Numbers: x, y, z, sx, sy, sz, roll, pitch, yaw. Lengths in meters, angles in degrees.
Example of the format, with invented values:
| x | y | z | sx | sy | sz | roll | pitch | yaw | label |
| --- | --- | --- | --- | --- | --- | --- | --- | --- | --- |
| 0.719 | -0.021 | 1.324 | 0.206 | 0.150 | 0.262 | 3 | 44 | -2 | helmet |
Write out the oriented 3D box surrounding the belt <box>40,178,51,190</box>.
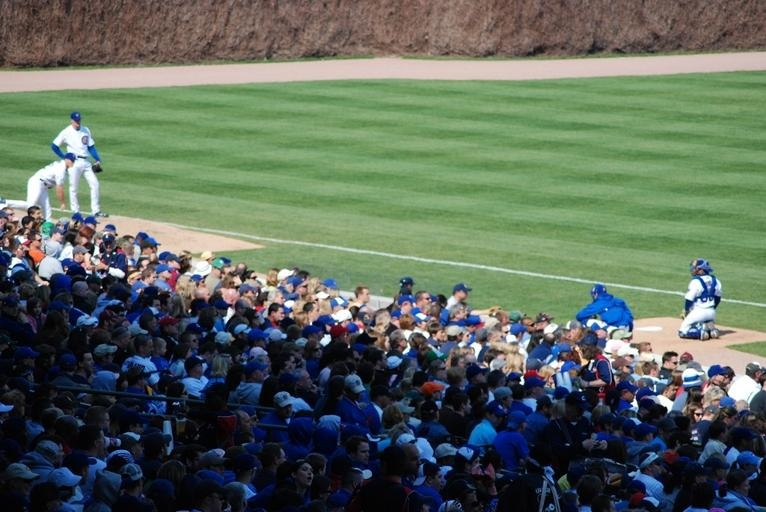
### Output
| x | y | z | sx | sy | sz | roll | pitch | yaw | label |
| --- | --- | --- | --- | --- | --- | --- | --- | --- | --- |
| -10.428 | -2.202 | 62.594 | 0.301 | 0.102 | 0.222 | 36 | 10 | -5 | belt |
